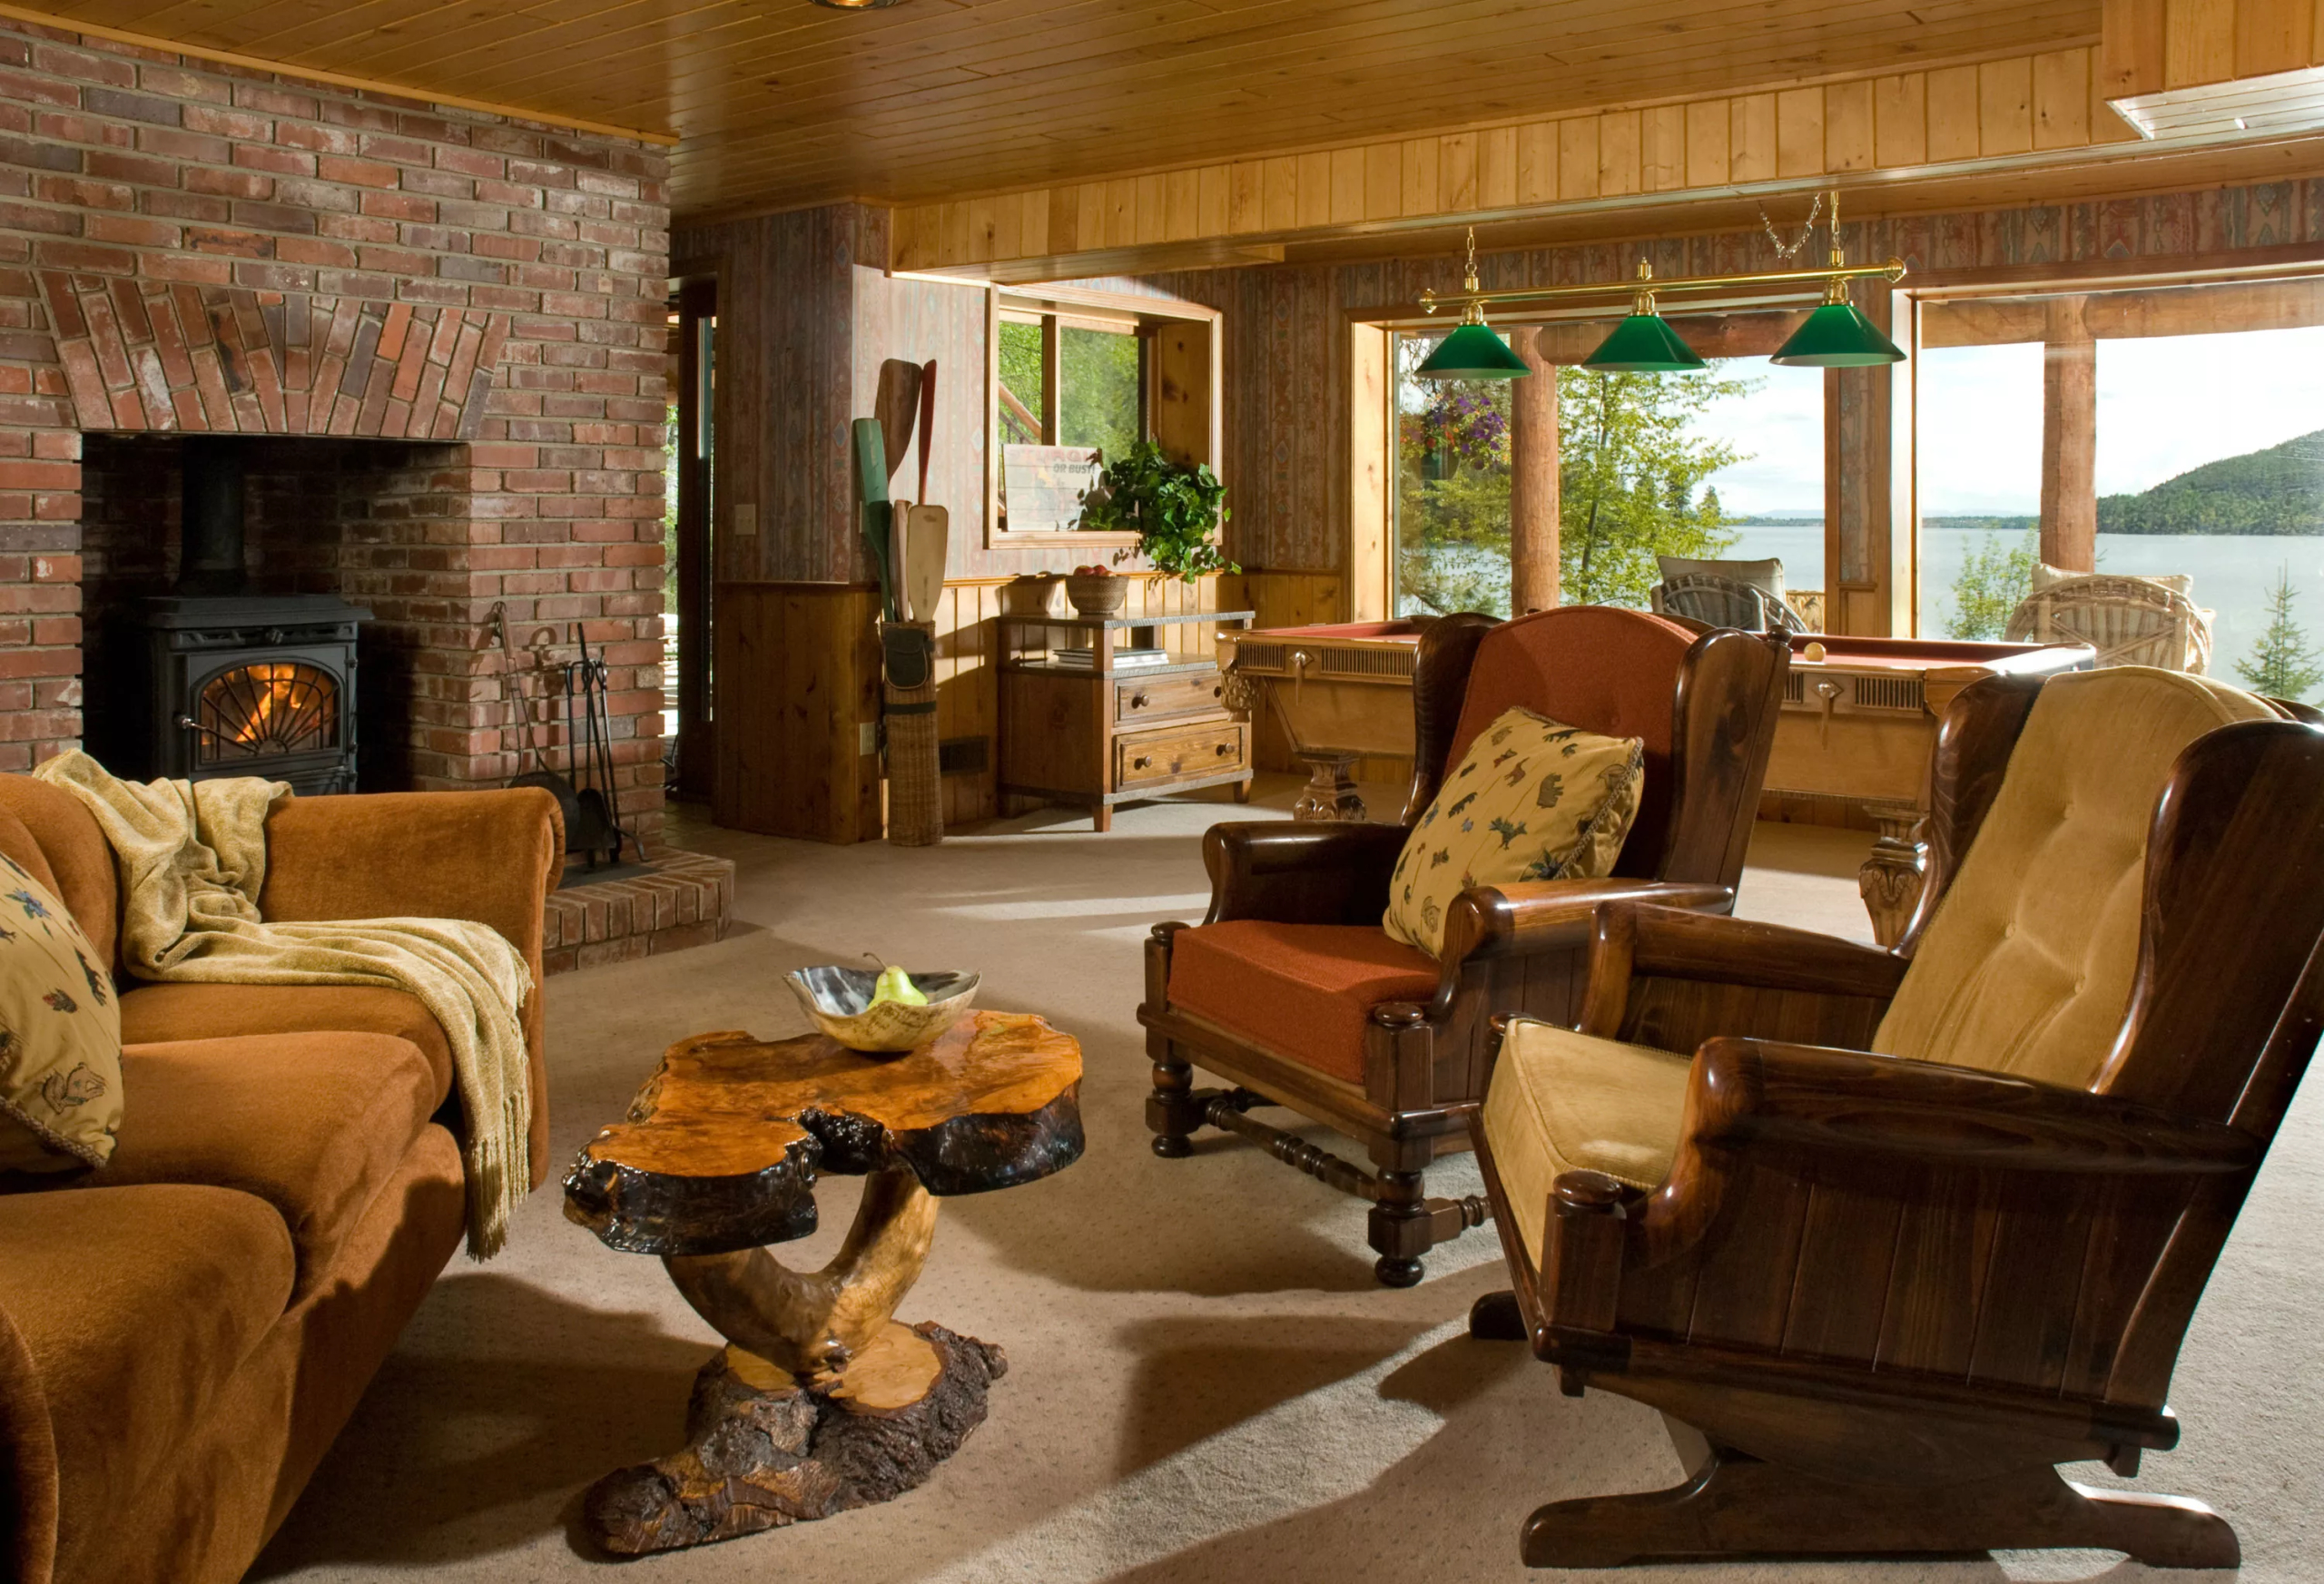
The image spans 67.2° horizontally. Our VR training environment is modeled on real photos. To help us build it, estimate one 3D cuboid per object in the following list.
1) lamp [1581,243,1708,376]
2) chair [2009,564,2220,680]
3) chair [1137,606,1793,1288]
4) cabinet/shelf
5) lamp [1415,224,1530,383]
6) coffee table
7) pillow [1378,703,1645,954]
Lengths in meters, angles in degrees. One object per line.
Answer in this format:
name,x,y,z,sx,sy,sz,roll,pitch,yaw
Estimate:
lamp,1.969,-1.963,7.094,0.362,0.504,1.844,4,13,15
chair,4.690,-0.866,8.673,0.832,0.405,0.565,6,9,30
chair,0.684,0.280,4.200,1.297,1.231,1.179,-8,12,-16
cabinet/shelf,-0.180,-0.416,8.985,0.753,0.825,1.267,8,10,36
lamp,1.167,-1.837,6.642,0.434,0.406,0.418,6,21,23
coffee table,-0.624,0.828,3.110,0.950,0.692,0.578,-8,16,-30
pillow,0.900,0.151,3.990,0.187,0.544,0.595,33,-8,-17
